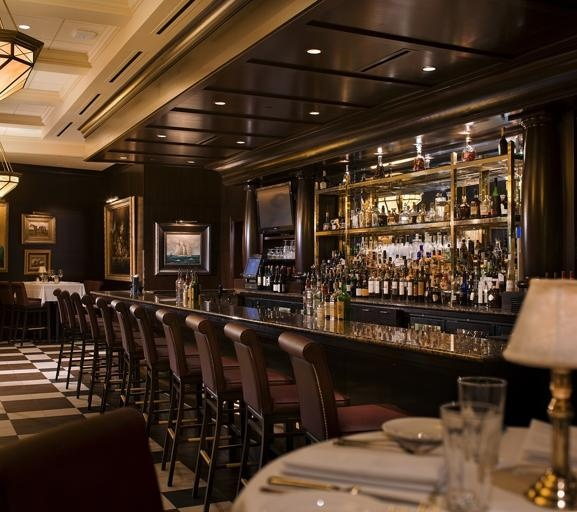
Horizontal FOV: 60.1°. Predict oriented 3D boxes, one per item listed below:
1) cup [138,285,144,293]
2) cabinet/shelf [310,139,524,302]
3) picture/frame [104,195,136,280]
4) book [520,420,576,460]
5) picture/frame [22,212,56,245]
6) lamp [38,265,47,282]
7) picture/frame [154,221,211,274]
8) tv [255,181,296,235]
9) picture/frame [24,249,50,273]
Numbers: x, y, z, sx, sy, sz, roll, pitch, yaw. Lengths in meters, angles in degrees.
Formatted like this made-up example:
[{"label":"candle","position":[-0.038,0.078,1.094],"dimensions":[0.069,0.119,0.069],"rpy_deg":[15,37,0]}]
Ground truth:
[{"label":"cup","position":[-2.058,0.472,6.985],"dimensions":[0.109,0.124,0.120],"rpy_deg":[-1,1,0]},{"label":"cabinet/shelf","position":[1.303,-0.275,5.677],"dimensions":[2.438,1.372,0.433],"rpy_deg":[-2,0,43]},{"label":"picture/frame","position":[-3.811,-0.423,11.342],"dimensions":[0.155,2.283,1.892],"rpy_deg":[2,-4,-34]},{"label":"book","position":[0.647,0.462,1.241],"dimensions":[0.165,0.019,0.151],"rpy_deg":[-3,5,1]},{"label":"picture/frame","position":[-5.795,-0.630,11.487],"dimensions":[0.758,0.842,0.067],"rpy_deg":[0,0,-39]},{"label":"lamp","position":[-5.539,0.397,11.263],"dimensions":[0.201,0.325,0.856],"rpy_deg":[-1,0,-27]},{"label":"picture/frame","position":[-2.371,-0.191,10.871],"dimensions":[1.095,0.974,0.109],"rpy_deg":[3,-5,-28]},{"label":"tv","position":[-0.183,-0.753,7.837],"dimensions":[0.093,0.713,0.926],"rpy_deg":[-3,-1,-40]},{"label":"picture/frame","position":[-5.826,0.107,11.494],"dimensions":[0.531,0.626,0.042],"rpy_deg":[2,-4,-40]}]
